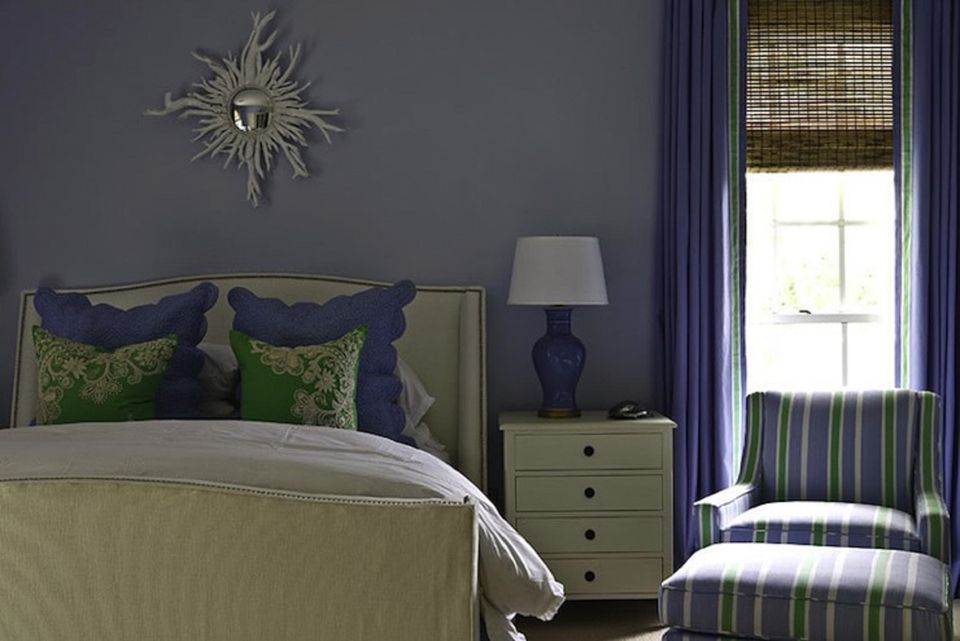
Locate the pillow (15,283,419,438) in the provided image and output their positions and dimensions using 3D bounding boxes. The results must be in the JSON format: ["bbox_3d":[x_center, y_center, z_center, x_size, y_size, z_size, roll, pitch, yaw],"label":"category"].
[{"bbox_3d":[-1.140,0.195,4.437,1.673,0.759,0.413,0,1,-4],"label":"pillow"}]

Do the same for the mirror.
[{"bbox_3d":[-1.248,-1.186,5.071,0.982,1.070,0.072,0,-2,-1],"label":"mirror"}]

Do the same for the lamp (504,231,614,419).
[{"bbox_3d":[0.394,0.030,4.870,0.485,0.916,0.406,0,1,1],"label":"lamp"}]
